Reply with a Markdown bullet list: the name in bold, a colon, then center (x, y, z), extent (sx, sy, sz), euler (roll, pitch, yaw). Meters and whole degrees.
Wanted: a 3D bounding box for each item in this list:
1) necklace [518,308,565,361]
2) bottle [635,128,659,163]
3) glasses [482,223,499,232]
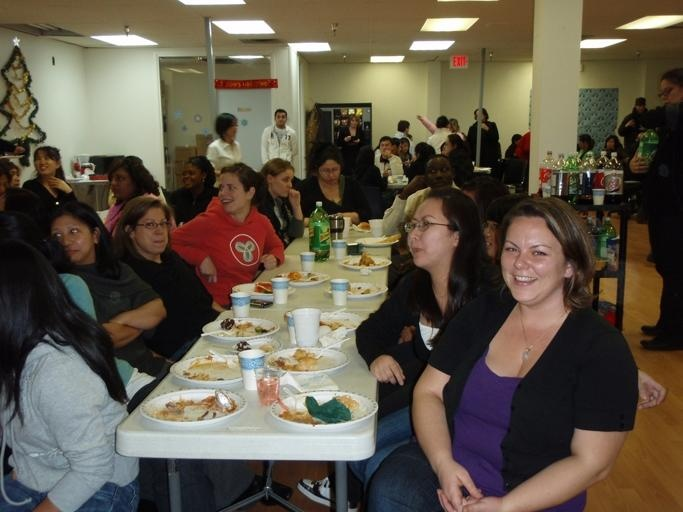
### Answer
- **necklace**: center (0.597, 0.234, 1.587), extent (0.128, 0.149, 0.165), euler (9, 53, 23)
- **bottle**: center (2.450, -0.887, 4.080), extent (0.146, 0.242, 0.221), euler (6, 16, 29)
- **glasses**: center (0.720, -0.144, 2.458), extent (0.051, 0.021, 0.051), euler (0, 28, 14)
